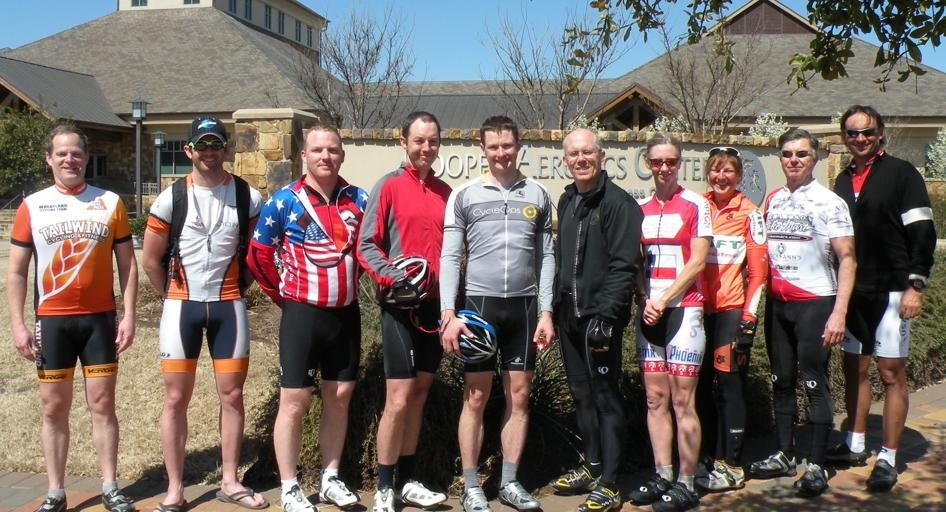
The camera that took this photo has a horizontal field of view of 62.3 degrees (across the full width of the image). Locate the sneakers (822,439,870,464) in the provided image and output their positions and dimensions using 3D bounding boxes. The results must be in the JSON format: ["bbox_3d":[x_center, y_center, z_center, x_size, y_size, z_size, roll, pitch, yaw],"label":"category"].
[{"bbox_3d":[4.664,2.490,9.954,0.594,0.236,0.231,4,-3,14],"label":"sneakers"}]

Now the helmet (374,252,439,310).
[{"bbox_3d":[-0.773,0.293,8.980,0.661,0.363,0.479,6,45,-6],"label":"helmet"}]

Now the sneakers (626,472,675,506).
[{"bbox_3d":[2.061,2.754,9.283,0.648,0.261,0.257,-16,10,-9],"label":"sneakers"}]

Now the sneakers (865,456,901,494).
[{"bbox_3d":[4.948,2.589,9.532,0.279,0.256,0.660,4,14,33],"label":"sneakers"}]

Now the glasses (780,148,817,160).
[{"bbox_3d":[3.949,-1.233,9.537,0.396,0.103,0.093,1,5,9],"label":"glasses"}]

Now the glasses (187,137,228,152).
[{"bbox_3d":[-3.114,-1.315,9.189,0.412,0.160,0.123,-1,5,-18],"label":"glasses"}]

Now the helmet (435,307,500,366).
[{"bbox_3d":[-0.078,0.921,9.173,0.592,0.452,0.507,33,1,-5],"label":"helmet"}]

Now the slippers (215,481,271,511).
[{"bbox_3d":[-2.726,2.832,9.261,0.553,0.143,0.289,7,8,22],"label":"slippers"}]
